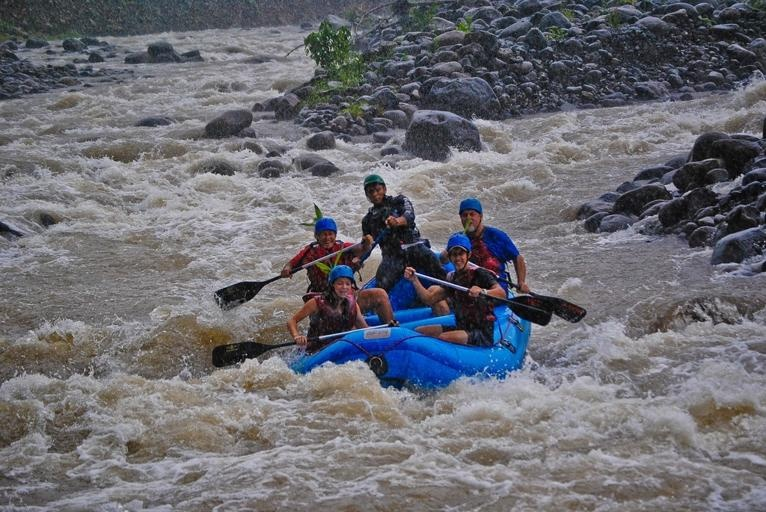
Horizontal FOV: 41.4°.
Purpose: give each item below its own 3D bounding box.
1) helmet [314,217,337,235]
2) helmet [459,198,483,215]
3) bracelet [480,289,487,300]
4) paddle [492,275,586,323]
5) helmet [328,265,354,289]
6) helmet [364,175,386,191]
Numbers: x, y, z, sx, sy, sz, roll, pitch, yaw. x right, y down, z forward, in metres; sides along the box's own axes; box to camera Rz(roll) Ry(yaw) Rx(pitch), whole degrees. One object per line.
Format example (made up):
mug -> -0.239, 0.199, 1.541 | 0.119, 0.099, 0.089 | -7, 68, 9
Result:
helmet -> -1.156, -0.611, 19.944 | 0.369, 0.243, 0.353 | 1, -5, -8
helmet -> 1.712, -0.988, 19.957 | 0.385, 0.255, 0.369 | 2, -10, 6
bracelet -> 1.868, 0.699, 18.862 | 0.111, 0.141, 0.054 | -5, -4, 10
paddle -> 3.067, 0.956, 19.840 | 0.119, 0.635, 2.702 | -33, 15, -20
helmet -> -0.812, 0.386, 19.014 | 0.338, 0.316, 0.425 | 0, -29, -20
helmet -> -0.191, -1.502, 20.221 | 0.383, 0.252, 0.345 | -1, 27, 2
